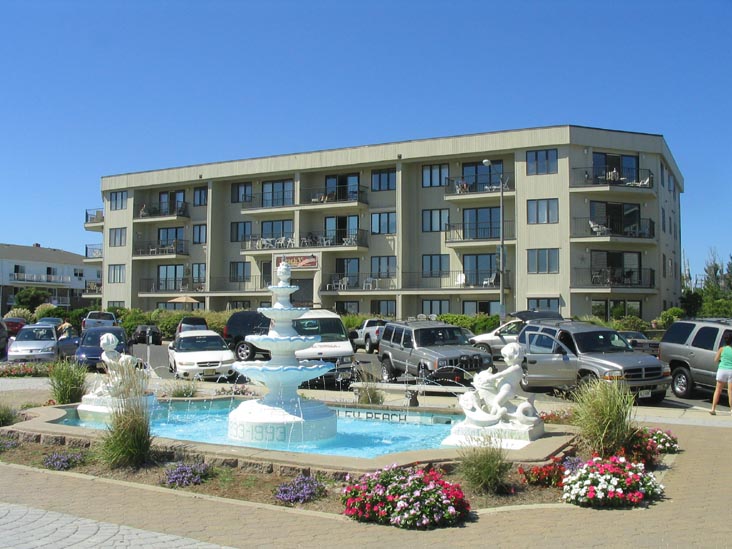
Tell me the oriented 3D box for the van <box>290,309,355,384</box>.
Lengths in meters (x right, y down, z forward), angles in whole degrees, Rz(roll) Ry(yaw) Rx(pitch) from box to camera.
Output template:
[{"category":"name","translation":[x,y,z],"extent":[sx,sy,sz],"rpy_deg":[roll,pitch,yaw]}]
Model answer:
[{"category":"van","translation":[-1.294,2.373,21.976],"extent":[1.761,2.573,2.323],"rpy_deg":[1,-4,-14]}]

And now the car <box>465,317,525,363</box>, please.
[{"category":"car","translation":[5.417,2.593,28.039],"extent":[2.552,1.395,1.448],"rpy_deg":[2,-3,23]}]

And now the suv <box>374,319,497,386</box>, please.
[{"category":"suv","translation":[2.040,2.390,21.435],"extent":[1.847,1.447,3.311],"rpy_deg":[0,-4,-27]}]

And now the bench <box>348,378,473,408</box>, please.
[{"category":"bench","translation":[1.210,3.186,18.635],"extent":[2.821,0.653,5.853],"rpy_deg":[0,-4,5]}]

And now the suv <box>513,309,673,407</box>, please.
[{"category":"suv","translation":[6.119,2.283,19.074],"extent":[2.245,1.723,3.827],"rpy_deg":[1,-5,-31]}]

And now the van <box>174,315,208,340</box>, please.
[{"category":"van","translation":[-9.338,2.477,36.282],"extent":[1.735,1.719,3.558],"rpy_deg":[0,-8,-12]}]

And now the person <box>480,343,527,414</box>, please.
[{"category":"person","translation":[2.605,1.961,12.841],"extent":[0.688,1.283,0.749],"rpy_deg":[-2,0,-8]}]
